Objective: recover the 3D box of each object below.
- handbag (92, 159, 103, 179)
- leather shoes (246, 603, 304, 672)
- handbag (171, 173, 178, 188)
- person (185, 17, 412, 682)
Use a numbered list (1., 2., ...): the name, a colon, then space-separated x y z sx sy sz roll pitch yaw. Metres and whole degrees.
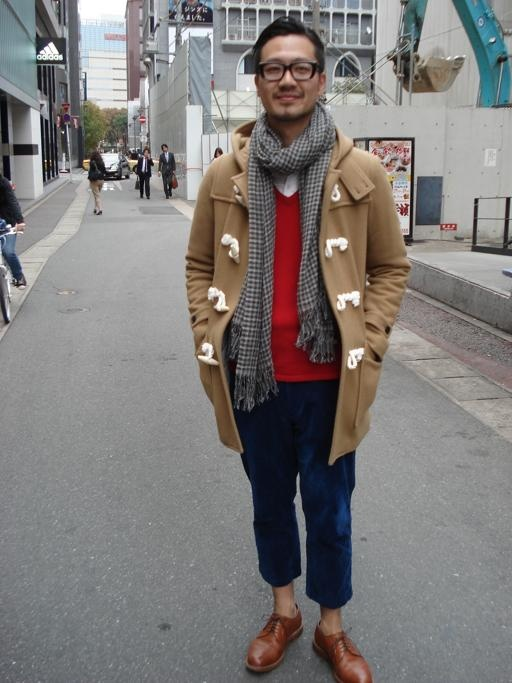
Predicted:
1. handbag: -6.710 -7.301 21.292 0.265 0.668 0.517 -12 34 -3
2. leather shoes: 0.054 0.935 1.617 0.073 0.112 0.223 -3 3 26
3. handbag: -4.759 -9.439 29.406 0.253 0.844 0.834 0 4 -6
4. person: 0.084 0.084 1.415 0.650 1.875 0.425 1 4 21
